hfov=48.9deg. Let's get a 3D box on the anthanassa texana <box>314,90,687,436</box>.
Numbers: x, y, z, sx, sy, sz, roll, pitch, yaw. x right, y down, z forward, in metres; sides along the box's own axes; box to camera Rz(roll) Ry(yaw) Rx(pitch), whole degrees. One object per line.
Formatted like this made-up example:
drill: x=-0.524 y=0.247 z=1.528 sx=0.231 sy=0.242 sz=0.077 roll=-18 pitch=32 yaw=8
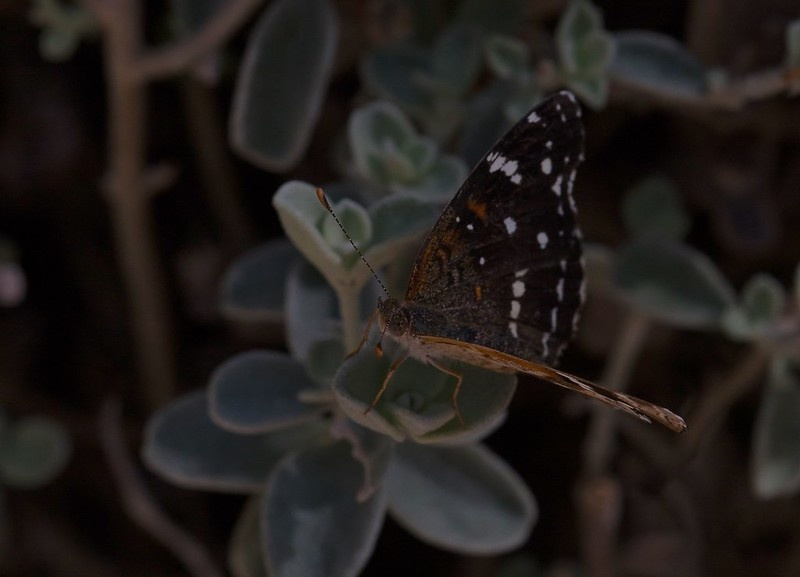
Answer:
anthanassa texana: x=0.057 y=0.018 z=1.220 sx=0.412 sy=0.493 sz=0.323 roll=20 pitch=46 yaw=-30
